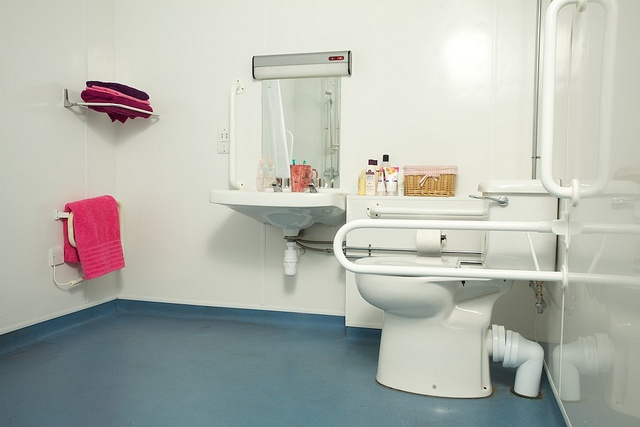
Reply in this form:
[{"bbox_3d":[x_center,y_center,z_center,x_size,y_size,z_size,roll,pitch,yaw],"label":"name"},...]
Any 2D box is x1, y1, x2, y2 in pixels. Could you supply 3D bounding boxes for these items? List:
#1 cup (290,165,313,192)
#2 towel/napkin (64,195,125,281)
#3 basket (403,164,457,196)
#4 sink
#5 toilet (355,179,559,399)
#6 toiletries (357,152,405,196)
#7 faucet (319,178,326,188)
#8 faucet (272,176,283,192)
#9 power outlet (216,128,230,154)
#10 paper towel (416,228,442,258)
[{"bbox_3d":[-0.127,-0.243,3.274,0.197,0.197,0.127,2,4,18],"label":"cup"},{"bbox_3d":[-1.622,0.159,3.492,0.192,0.526,0.398,7,15,27],"label":"towel/napkin"},{"bbox_3d":[0.719,-0.211,3.115,0.271,0.174,0.217,0,-3,8],"label":"basket"},{"bbox_3d":[-0.239,0.014,3.099,0.912,0.351,0.475,-3,14,-12],"label":"sink"},{"bbox_3d":[0.695,0.451,2.814,1.171,1.186,0.691,1,-4,13],"label":"toilet"},{"bbox_3d":[0.402,-0.258,3.210,0.323,0.337,0.196,2,0,13],"label":"toiletries"},{"bbox_3d":[0.020,-0.215,3.371,0.028,0.065,0.098,5,14,18],"label":"faucet"},{"bbox_3d":[-0.292,-0.190,3.261,0.055,0.092,0.093,0,6,-3],"label":"faucet"},{"bbox_3d":[-0.728,-0.538,3.571,0.086,0.188,0.051,1,14,3],"label":"power outlet"},{"bbox_3d":[0.652,0.170,2.906,0.173,0.170,0.135,-2,4,11],"label":"paper towel"}]
